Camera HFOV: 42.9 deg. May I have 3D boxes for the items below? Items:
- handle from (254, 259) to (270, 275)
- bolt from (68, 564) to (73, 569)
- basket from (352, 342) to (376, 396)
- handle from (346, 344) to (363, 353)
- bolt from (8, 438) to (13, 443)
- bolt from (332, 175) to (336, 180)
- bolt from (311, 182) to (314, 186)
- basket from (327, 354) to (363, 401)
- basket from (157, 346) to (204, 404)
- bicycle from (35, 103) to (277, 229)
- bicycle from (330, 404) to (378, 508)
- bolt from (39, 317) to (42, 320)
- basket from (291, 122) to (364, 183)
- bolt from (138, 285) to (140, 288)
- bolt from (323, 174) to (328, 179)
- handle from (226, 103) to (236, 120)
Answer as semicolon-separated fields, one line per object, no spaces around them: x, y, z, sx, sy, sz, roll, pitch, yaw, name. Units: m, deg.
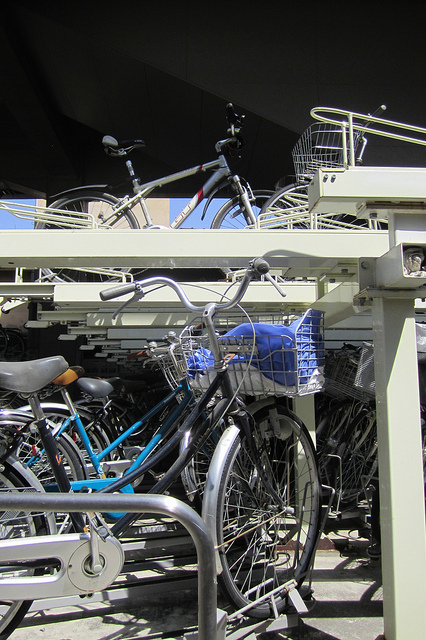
0.166;-0.184;1.853;0.048;0.046;0.048;2;5;7;handle
-0.400;0.696;1.529;0.012;0.013;0.004;3;-6;-35;bolt
1.039;0.339;3.748;0.123;0.367;0.433;-2;-5;14;basket
1.289;0.249;4.953;0.115;0.049;0.063;26;14;17;handle
-0.744;0.444;1.999;0.015;0.015;0.009;2;-6;-23;bolt
0.430;-0.511;1.937;0.013;0.014;0.002;-1;-6;12;bolt
0.366;-0.502;1.998;0.014;0.007;0.014;0;-2;43;bolt
1.043;0.521;4.376;0.110;0.286;0.301;22;-19;-13;basket
-0.118;0.287;2.647;0.189;0.198;0.320;-7;41;25;basket
-0.357;-1.032;4.563;2.165;1.319;1.261;0;14;4;bicycle
0.990;0.965;3.867;0.328;0.707;0.843;-2;-5;15;bicycle
-1.386;-0.017;4.369;0.026;0.022;0.006;0;1;11;bolt
0.833;-1.266;3.936;0.441;0.373;0.288;-1;35;2;basket
-0.277;-0.126;2.037;0.006;0.008;0.014;0;-5;-1;bolt
0.402;-0.513;1.941;0.013;0.015;0.004;-1;-5;6;bolt
0.134;-1.590;4.145;0.070;0.126;0.027;7;24;25;handle
